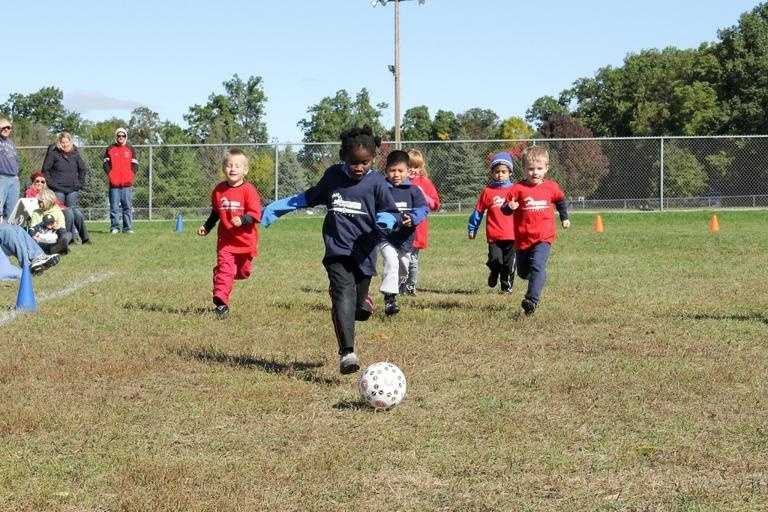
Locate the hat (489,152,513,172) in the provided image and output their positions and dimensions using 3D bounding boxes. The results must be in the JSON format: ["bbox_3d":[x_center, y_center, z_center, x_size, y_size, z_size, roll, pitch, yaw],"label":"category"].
[{"bbox_3d":[1.395,-1.131,11.076,0.199,0.183,0.297,2,-5,13],"label":"hat"}]

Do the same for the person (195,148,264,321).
[{"bbox_3d":[-1.612,-0.298,9.762,0.625,1.634,1.102,-2,8,-8],"label":"person"}]

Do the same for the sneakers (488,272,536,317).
[{"bbox_3d":[1.455,0.395,10.578,0.176,0.294,0.692,-5,29,-33],"label":"sneakers"}]

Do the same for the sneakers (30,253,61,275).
[{"bbox_3d":[-3.783,0.074,10.463,0.389,0.142,0.175,-28,64,-33],"label":"sneakers"}]

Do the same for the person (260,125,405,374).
[{"bbox_3d":[-0.333,-0.182,7.942,0.660,1.831,0.898,-7,10,-38],"label":"person"}]

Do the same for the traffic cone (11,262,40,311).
[{"bbox_3d":[-3.640,0.295,9.425,0.209,0.451,0.449,-4,9,-21],"label":"traffic cone"}]

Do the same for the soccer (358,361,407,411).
[{"bbox_3d":[-0.024,0.974,7.125,0.326,0.324,0.317,1,-29,-11],"label":"soccer"}]

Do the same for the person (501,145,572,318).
[{"bbox_3d":[1.581,-0.319,9.744,0.653,1.639,1.431,1,8,11],"label":"person"}]

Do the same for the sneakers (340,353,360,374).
[{"bbox_3d":[-0.281,0.889,7.542,0.152,0.211,0.241,-1,8,-2],"label":"sneakers"}]

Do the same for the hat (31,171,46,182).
[{"bbox_3d":[-5.340,-1.275,14.438,0.221,0.229,0.282,0,-2,-28],"label":"hat"}]

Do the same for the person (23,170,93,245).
[{"bbox_3d":[-5.283,-0.767,15.053,0.967,1.180,0.502,1,9,7],"label":"person"}]

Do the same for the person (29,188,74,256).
[{"bbox_3d":[-4.902,-0.496,13.428,0.706,0.921,0.698,-10,15,-41],"label":"person"}]
